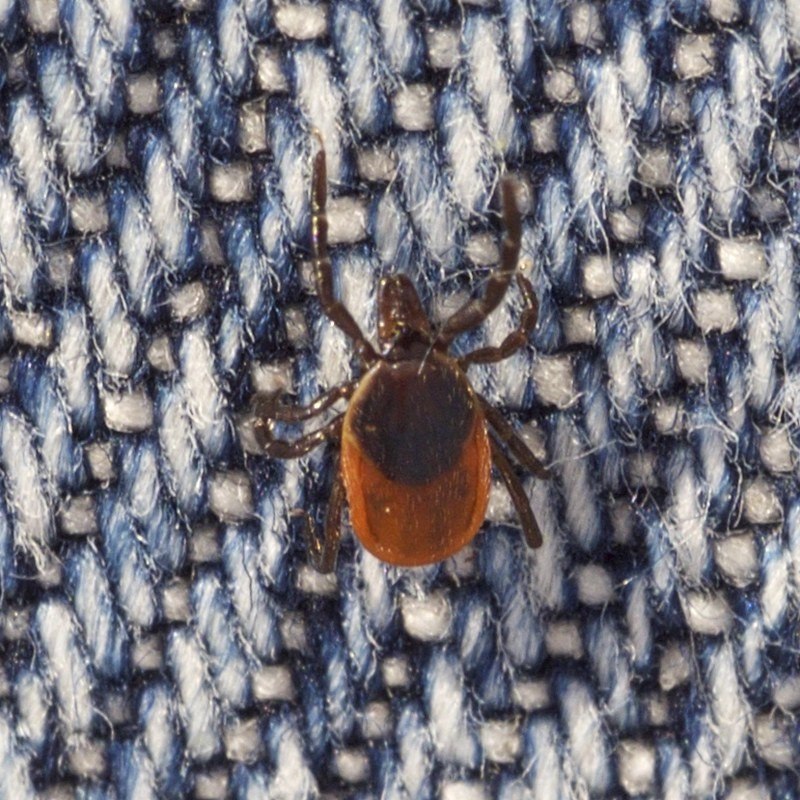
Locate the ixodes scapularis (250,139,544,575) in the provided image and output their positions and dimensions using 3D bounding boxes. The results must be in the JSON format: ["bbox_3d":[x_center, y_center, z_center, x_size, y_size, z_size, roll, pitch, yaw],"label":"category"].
[{"bbox_3d":[-0.004,-0.024,0.797,0.071,0.100,0.228,7,74,3],"label":"ixodes scapularis"}]
